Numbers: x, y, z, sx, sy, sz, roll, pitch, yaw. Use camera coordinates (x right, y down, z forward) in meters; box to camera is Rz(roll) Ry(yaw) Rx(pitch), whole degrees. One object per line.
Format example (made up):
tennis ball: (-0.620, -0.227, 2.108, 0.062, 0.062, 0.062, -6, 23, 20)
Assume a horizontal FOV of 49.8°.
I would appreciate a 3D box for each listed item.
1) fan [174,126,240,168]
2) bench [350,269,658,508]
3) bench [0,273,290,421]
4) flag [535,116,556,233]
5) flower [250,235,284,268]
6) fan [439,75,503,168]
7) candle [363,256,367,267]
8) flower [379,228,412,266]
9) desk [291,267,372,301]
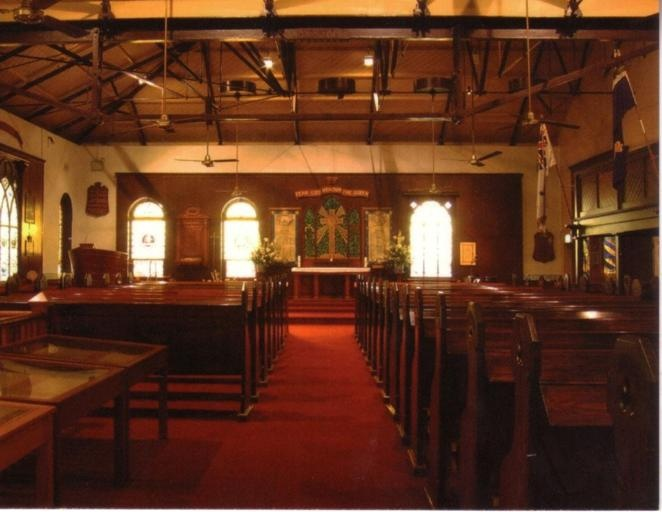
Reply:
fan: (-2.900, -2.610, 16.850, 1.179, 0.976, 1.304, -3, -4, 4)
bench: (1.894, 1.391, 7.608, 2.125, 2.206, 3.893, -1, 0, -14)
bench: (-2.374, 1.099, 9.698, 3.137, 1.595, 2.894, 0, 0, 5)
flag: (3.457, -1.308, 11.395, 0.178, 1.891, 0.348, -8, 9, -35)
flower: (-1.396, -0.112, 15.438, 0.597, 0.838, 0.657, 4, -7, -18)
fan: (3.295, -2.893, 16.126, 0.957, 1.981, 3.496, 0, 0, 12)
candle: (0.836, 0.133, 17.242, 0.111, 0.215, 0.141, 0, 0, 3)
flower: (1.499, -0.171, 16.460, 0.587, 0.853, 0.619, 6, -4, -3)
desk: (0.020, 0.676, 16.842, 1.752, 0.781, 0.564, 0, 9, 6)
